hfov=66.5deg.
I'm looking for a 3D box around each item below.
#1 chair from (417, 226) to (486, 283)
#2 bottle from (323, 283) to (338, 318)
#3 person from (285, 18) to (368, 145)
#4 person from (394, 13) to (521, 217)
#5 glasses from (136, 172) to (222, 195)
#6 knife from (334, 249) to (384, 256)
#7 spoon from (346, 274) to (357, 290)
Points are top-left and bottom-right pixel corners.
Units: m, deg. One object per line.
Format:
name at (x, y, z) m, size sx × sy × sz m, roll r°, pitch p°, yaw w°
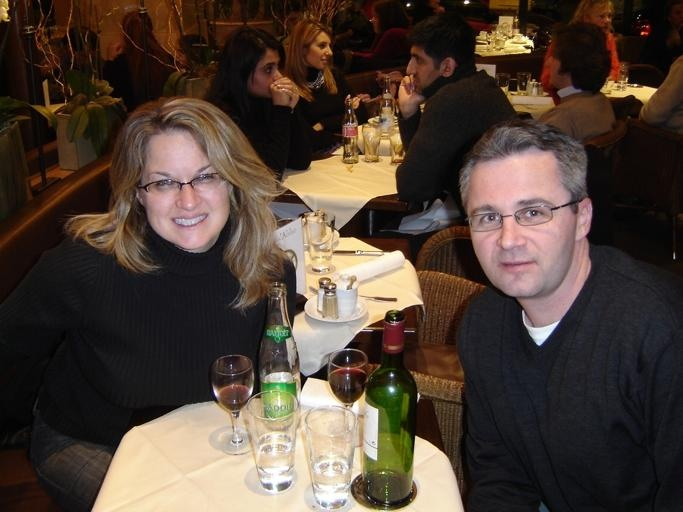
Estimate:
chair at (0.628, 0.042, 2.850) m, size 0.218 × 0.276 × 0.226 m, roll 18°, pitch -4°, yaw -21°
bottle at (-0.043, 0.162, 1.895) m, size 0.053 × 0.145 × 0.029 m, roll -5°, pitch 24°, yaw -9°
person at (-0.180, -1.478, 4.476) m, size 0.757 × 1.005 × 0.760 m, roll 14°, pitch 25°, yaw 26°
person at (0.757, -0.731, 3.572) m, size 0.892 × 1.584 × 0.826 m, roll 5°, pitch 30°, yaw 21°
glasses at (-0.488, -0.228, 1.628) m, size 0.221 × 0.051 × 0.042 m, roll -6°, pitch 23°, yaw -12°
knife at (0.076, -0.014, 2.431) m, size 0.304 × 0.039 × 0.015 m, roll 2°, pitch -19°, yaw 0°
spoon at (0.034, 0.097, 1.962) m, size 0.029 × 0.054 × 0.053 m, roll 21°, pitch 30°, yaw -11°
